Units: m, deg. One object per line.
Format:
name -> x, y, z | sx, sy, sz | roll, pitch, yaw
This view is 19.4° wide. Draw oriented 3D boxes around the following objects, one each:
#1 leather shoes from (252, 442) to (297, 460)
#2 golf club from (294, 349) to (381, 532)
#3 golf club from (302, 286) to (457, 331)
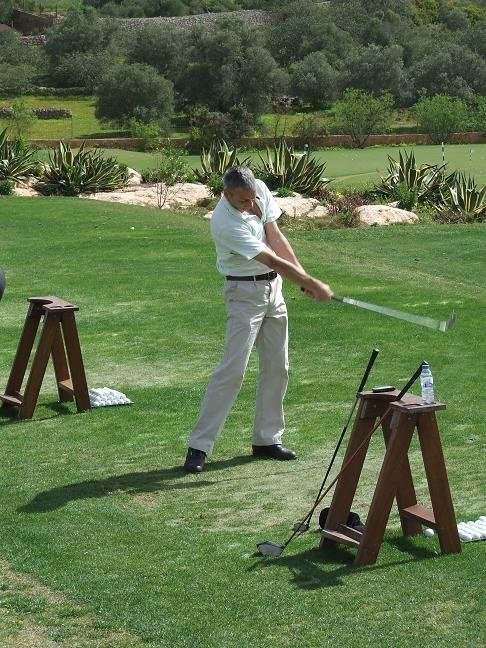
leather shoes -> 0.200, 0.851, 9.375 | 0.289, 0.141, 0.111 | -2, 1, 18
golf club -> 0.592, 0.780, 9.104 | 0.119, 1.146, 0.202 | 9, 30, -24
golf club -> 1.201, -0.117, 12.816 | 1.102, 0.180, 0.126 | 17, 45, 34
